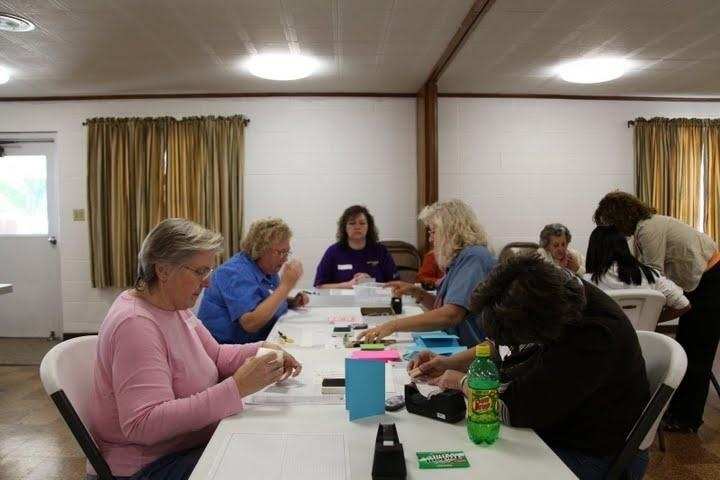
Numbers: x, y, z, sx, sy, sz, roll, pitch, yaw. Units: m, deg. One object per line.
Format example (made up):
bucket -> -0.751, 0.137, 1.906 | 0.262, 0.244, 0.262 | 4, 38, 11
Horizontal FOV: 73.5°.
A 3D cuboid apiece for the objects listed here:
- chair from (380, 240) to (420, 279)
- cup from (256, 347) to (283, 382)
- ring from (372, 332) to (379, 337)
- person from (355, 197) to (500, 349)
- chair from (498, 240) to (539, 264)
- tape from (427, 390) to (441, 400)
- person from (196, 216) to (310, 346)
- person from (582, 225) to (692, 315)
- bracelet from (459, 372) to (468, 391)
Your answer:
chair -> 0.479, 0.176, 5.464 | 0.434, 0.482, 0.348 | -3, -1, 9
cup -> -0.452, 0.567, 2.389 | 0.141, 0.182, 0.075 | -5, 1, -35
ring -> 0.089, 0.522, 2.823 | 0.026, 0.020, 0.026 | 1, -5, 0
person -> 0.564, 0.318, 3.403 | 0.980, 1.414, 0.815 | 1, -21, 10
chair -> 1.108, 0.037, 3.468 | 0.291, 0.163, 0.398 | 1, 7, 23
tape -> 0.340, 0.686, 2.233 | 0.053, 0.018, 0.052 | -1, 4, 20
person -> -0.772, 0.301, 3.750 | 0.742, 1.351, 0.893 | 5, 9, 2
person -> 1.999, 0.199, 3.674 | 0.743, 0.738, 0.510 | 4, 1, 27
bracelet -> 0.492, 0.651, 2.293 | 0.051, 0.062, 0.068 | 2, -3, 0
